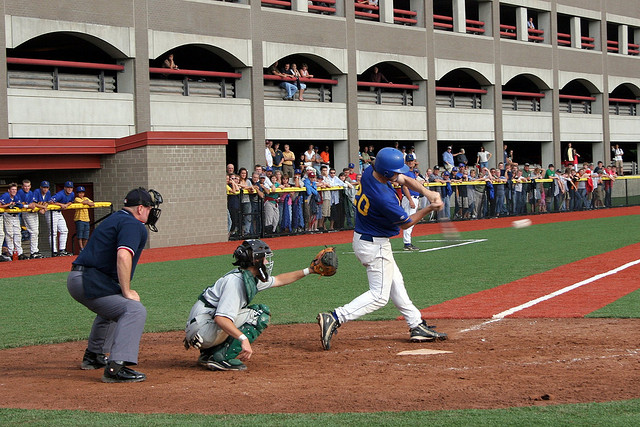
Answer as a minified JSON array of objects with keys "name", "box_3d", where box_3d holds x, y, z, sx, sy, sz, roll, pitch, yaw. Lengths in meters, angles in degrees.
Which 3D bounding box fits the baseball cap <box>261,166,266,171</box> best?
[{"name":"baseball cap","box_3d":[-2.039,-1.596,37.938,0.219,0.221,0.276,-1,2,-8]}]

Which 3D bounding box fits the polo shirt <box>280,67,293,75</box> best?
[{"name":"polo shirt","box_3d":[-1.439,-5.698,42.660,0.406,0.315,0.768,0,1,-23]}]

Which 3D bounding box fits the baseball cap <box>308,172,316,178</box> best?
[{"name":"baseball cap","box_3d":[-0.301,-1.312,35.991,0.131,0.154,0.165,7,3,-16]}]

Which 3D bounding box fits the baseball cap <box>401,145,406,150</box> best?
[{"name":"baseball cap","box_3d":[3.840,-2.975,48.123,0.170,0.231,0.249,7,6,-12]}]

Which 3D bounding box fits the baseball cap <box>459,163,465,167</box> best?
[{"name":"baseball cap","box_3d":[5.806,-1.981,43.278,0.233,0.122,0.319,1,5,27]}]

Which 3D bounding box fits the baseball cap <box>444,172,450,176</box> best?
[{"name":"baseball cap","box_3d":[4.830,-1.510,40.328,0.251,0.101,0.336,0,2,-1]}]

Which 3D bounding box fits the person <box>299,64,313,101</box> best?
[{"name":"person","box_3d":[-0.626,-5.252,42.829,0.459,1.457,1.012,0,1,-6]}]

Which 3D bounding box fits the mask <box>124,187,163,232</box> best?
[{"name":"mask","box_3d":[-3.650,-0.074,21.432,0.765,0.781,0.659,6,-7,-23]}]

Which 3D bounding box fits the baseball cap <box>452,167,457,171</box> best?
[{"name":"baseball cap","box_3d":[5.681,-1.870,44.656,0.301,0.130,0.369,2,7,5]}]

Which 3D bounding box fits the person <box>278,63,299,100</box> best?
[{"name":"person","box_3d":[-1.252,-5.247,42.477,0.974,1.415,0.621,-1,2,-42]}]

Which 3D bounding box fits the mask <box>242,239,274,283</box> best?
[{"name":"mask","box_3d":[-1.313,0.886,21.472,0.780,0.679,0.579,3,4,-18]}]

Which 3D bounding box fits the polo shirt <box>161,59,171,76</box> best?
[{"name":"polo shirt","box_3d":[-5.729,-5.389,39.294,0.297,0.524,0.954,0,1,-8]}]

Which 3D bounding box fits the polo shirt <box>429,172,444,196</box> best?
[{"name":"polo shirt","box_3d":[4.374,-1.084,39.604,0.544,0.853,1.777,0,1,6]}]

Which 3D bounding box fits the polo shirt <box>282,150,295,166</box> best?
[{"name":"polo shirt","box_3d":[-1.138,-2.058,40.030,0.344,0.535,0.659,1,1,35]}]

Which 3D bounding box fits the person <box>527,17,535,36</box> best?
[{"name":"person","box_3d":[10.748,-9.438,53.701,0.343,1.170,1.703,0,1,12]}]

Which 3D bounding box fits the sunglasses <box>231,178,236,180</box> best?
[{"name":"sunglasses","box_3d":[-2.908,-1.149,35.410,0.146,0.043,0.095,0,1,-25]}]

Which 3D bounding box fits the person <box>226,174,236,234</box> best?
[{"name":"person","box_3d":[-3.044,-0.307,35.445,0.274,1.902,0.599,0,1,-21]}]

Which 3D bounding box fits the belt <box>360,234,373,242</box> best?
[{"name":"belt","box_3d":[0.995,0.523,22.246,0.138,0.098,0.159,11,0,-10]}]
